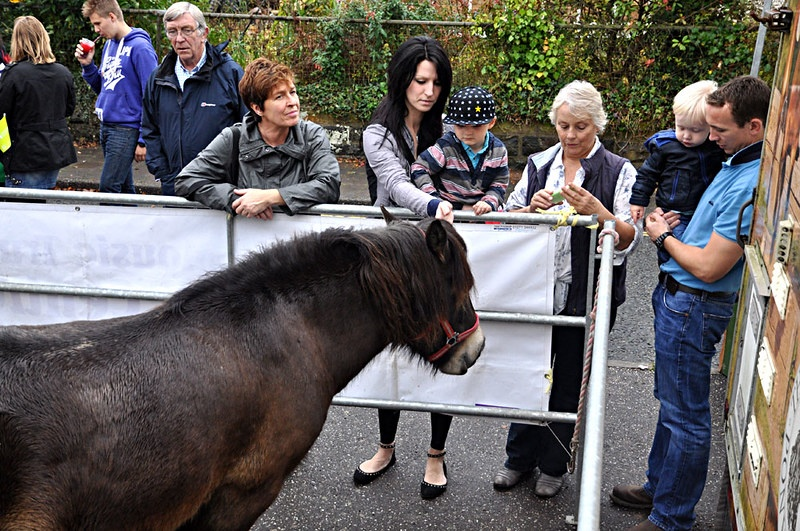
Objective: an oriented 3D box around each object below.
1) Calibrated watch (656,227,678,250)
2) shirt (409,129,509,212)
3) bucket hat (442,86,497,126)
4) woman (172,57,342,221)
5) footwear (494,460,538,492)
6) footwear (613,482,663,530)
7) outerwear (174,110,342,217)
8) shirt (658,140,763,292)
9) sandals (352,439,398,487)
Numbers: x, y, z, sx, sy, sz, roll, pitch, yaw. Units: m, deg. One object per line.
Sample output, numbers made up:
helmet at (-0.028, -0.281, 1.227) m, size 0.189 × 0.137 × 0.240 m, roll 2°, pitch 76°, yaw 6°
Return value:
Calibrated watch at (1.750, -0.178, 4.667) m, size 0.137 × 0.100 × 0.150 m, roll 4°, pitch -8°, yaw -5°
shirt at (0.420, -0.633, 5.415) m, size 0.741 × 0.968 × 0.582 m, roll -3°, pitch 58°, yaw 0°
bucket hat at (0.489, -1.088, 4.893) m, size 0.243 × 0.186 × 0.312 m, roll 12°, pitch 31°, yaw 20°
woman at (-0.960, -0.824, 5.157) m, size 1.506 × 1.382 × 1.021 m, roll -3°, pitch 18°, yaw -13°
footwear at (0.861, 1.573, 5.278) m, size 0.123 × 0.153 × 0.358 m, roll 10°, pitch 4°, yaw 43°
footwear at (1.669, 1.678, 4.951) m, size 0.341 × 0.151 × 0.128 m, roll 15°, pitch 32°, yaw 20°
outerwear at (-0.961, -0.684, 4.981) m, size 1.199 × 0.920 × 0.716 m, roll 2°, pitch 19°, yaw -2°
shirt at (2.011, -0.297, 4.545) m, size 0.390 × 0.771 × 0.745 m, roll 16°, pitch 26°, yaw 11°
sandals at (-0.154, 1.479, 5.356) m, size 0.163 × 0.189 × 0.461 m, roll 16°, pitch 20°, yaw 38°
